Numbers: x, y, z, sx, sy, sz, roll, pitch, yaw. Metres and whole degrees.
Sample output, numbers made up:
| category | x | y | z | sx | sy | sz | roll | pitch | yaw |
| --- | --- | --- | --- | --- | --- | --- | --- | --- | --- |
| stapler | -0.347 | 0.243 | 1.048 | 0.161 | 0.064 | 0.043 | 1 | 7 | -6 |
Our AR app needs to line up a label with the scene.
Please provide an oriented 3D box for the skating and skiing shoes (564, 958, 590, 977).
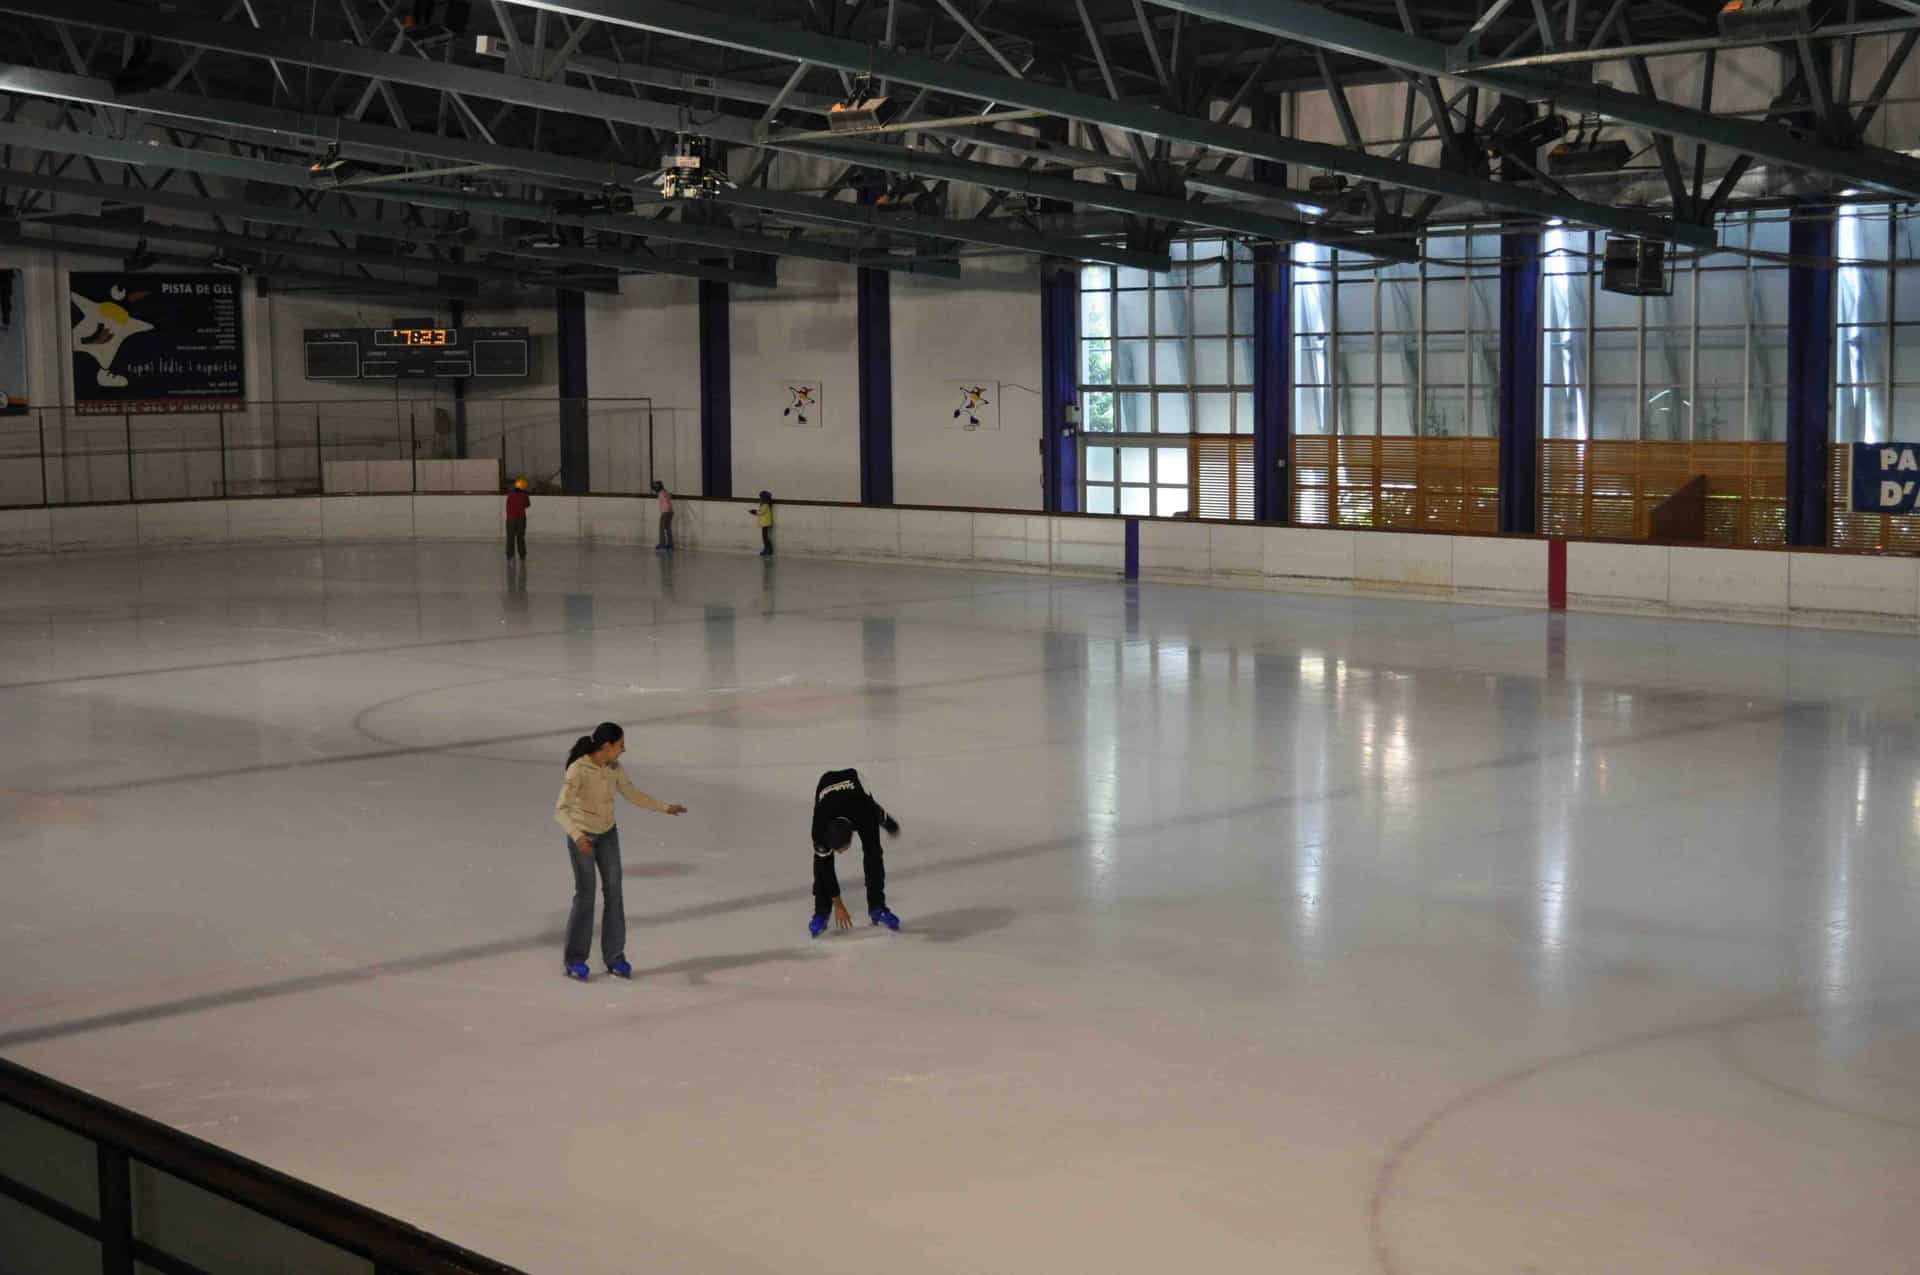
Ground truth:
| category | x | y | z | sx | sy | sz | roll | pitch | yaw |
| --- | --- | --- | --- | --- | --- | --- | --- | --- | --- |
| skating and skiing shoes | -2.727 | 2.367 | 10.915 | 0.176 | 0.111 | 0.097 | -2 | 1 | 40 |

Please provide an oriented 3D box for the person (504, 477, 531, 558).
| category | x | y | z | sx | sy | sz | roll | pitch | yaw |
| --- | --- | --- | --- | --- | --- | --- | --- | --- | --- |
| person | -10.676 | -2.790 | 36.748 | 0.426 | 1.777 | 0.919 | -4 | 8 | -23 |

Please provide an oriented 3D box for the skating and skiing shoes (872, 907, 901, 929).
| category | x | y | z | sx | sy | sz | roll | pitch | yaw |
| --- | --- | --- | --- | --- | --- | --- | --- | --- | --- |
| skating and skiing shoes | -0.576 | 2.176 | 11.783 | 0.200 | 0.126 | 0.081 | 16 | -27 | 25 |

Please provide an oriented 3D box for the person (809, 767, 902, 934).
| category | x | y | z | sx | sy | sz | roll | pitch | yaw |
| --- | --- | --- | --- | --- | --- | --- | --- | --- | --- |
| person | -0.834 | 1.746 | 12.096 | 0.763 | 1.122 | 1.583 | -5 | -3 | 4 |

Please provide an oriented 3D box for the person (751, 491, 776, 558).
| category | x | y | z | sx | sy | sz | roll | pitch | yaw |
| --- | --- | --- | --- | --- | --- | --- | --- | --- | --- |
| person | -4.851 | -2.849 | 38.446 | 0.492 | 1.544 | 1.226 | -2 | 7 | -7 |
